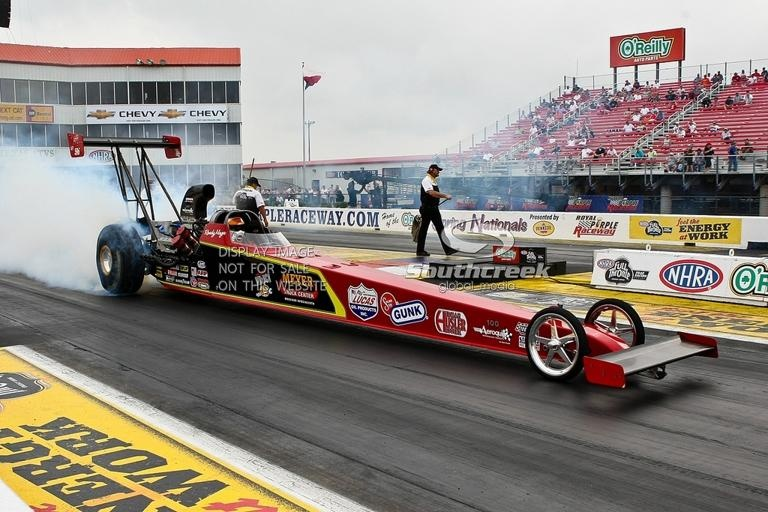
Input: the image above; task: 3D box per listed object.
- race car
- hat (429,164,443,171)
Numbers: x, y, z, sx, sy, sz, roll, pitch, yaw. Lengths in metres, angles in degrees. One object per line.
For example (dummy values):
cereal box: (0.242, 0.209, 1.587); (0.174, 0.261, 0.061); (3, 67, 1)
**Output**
race car: (-0.783, -0.261, 8.373); (9.251, 2.746, 1.288); (7, 15, 34)
hat: (1.225, -2.065, 13.779); (0.318, 0.126, 0.177); (-4, 12, -17)
